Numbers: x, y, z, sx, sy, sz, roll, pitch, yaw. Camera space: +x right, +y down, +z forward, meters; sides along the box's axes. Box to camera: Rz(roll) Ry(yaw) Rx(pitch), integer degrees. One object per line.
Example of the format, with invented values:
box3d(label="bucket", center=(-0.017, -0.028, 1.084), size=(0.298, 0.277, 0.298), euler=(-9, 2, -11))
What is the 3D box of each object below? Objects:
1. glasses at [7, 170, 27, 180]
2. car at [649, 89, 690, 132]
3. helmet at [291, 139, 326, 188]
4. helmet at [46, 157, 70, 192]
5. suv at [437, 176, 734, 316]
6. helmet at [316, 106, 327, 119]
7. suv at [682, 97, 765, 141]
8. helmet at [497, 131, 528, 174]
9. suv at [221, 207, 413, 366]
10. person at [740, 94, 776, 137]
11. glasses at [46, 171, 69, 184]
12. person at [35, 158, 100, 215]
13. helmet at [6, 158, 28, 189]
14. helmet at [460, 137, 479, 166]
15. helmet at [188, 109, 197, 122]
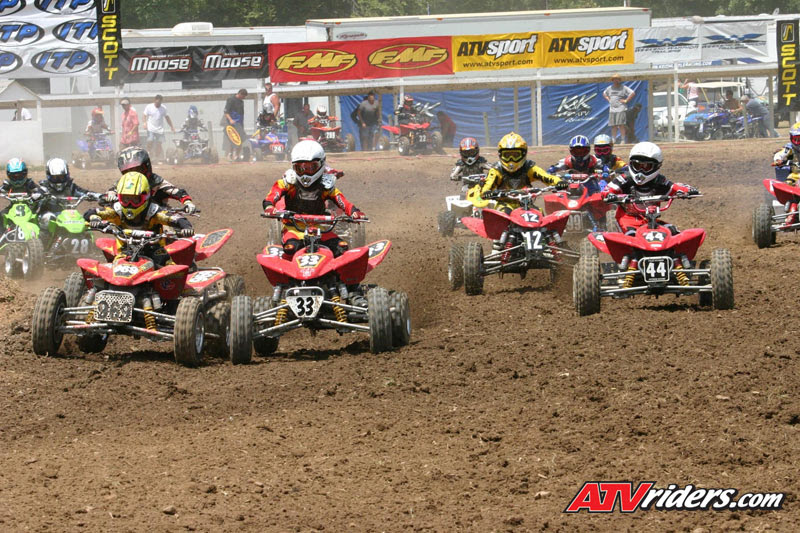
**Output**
box3d(label="glasses", center=(-5.981, -1.421, 16.889), size=(0.169, 0.195, 0.189), euler=(3, 30, 4))
box3d(label="car", center=(9.115, -5.225, 36.526), size=(1.747, 1.257, 2.852), euler=(-2, 2, 5))
box3d(label="helmet", center=(-1.106, -1.290, 13.561), size=(0.463, 0.531, 0.558), euler=(-2, 11, 9))
box3d(label="helmet", center=(-5.414, -1.428, 17.135), size=(0.400, 0.496, 0.519), euler=(-4, 1, -16))
box3d(label="suv", center=(2.386, -0.344, 14.714), size=(3.460, 1.523, 3.279), euler=(-2, 13, 2))
box3d(label="helmet", center=(-2.158, -4.221, 29.786), size=(0.244, 0.233, 0.296), euler=(2, 22, -26))
box3d(label="suv", center=(9.994, -4.451, 33.378), size=(2.627, 1.303, 1.174), euler=(2, 5, 12))
box3d(label="helmet", center=(1.669, -1.651, 15.987), size=(0.433, 0.513, 0.574), euler=(-1, 5, 9))
box3d(label="suv", center=(-0.945, 0.207, 12.797), size=(1.618, 1.364, 2.209), euler=(-1, -6, 5))
box3d(label="person", center=(10.848, -4.490, 32.802), size=(0.868, 1.072, 2.405), euler=(0, 14, 13))
box3d(label="glasses", center=(-5.363, -1.388, 16.995), size=(0.186, 0.195, 0.232), euler=(-4, 1, -8))
box3d(label="person", center=(-5.245, -1.255, 16.887), size=(0.928, 0.551, 1.155), euler=(-3, 8, -24))
box3d(label="helmet", center=(-6.016, -1.436, 17.050), size=(0.354, 0.431, 0.467), euler=(-3, -6, -11))
box3d(label="helmet", center=(1.188, -1.975, 18.696), size=(0.355, 0.409, 0.480), euler=(-2, 12, 5))
box3d(label="helmet", center=(-5.807, -4.208, 30.298), size=(0.285, 0.340, 0.356), euler=(-1, -17, -13))
